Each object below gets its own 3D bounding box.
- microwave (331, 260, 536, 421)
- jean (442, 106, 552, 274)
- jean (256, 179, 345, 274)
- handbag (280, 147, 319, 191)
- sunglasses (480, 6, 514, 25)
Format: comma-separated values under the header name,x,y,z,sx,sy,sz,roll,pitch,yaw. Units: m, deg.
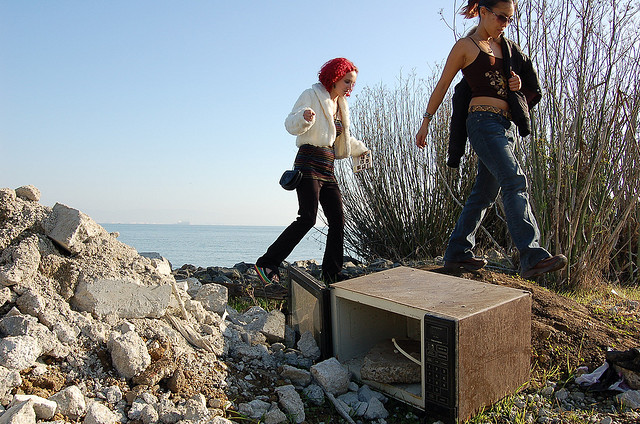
name,x,y,z,sx,sy,sz,roll,pitch,yaw
microwave,0.714,0.785,2.701,0.865,0.647,0.992,-6,7,-44
jean,1.440,-0.199,3.401,0.795,1.332,0.303,2,6,30
jean,-0.161,0.134,3.837,0.754,0.868,0.232,-2,5,-6
handbag,-0.252,-0.348,3.752,0.214,0.244,0.144,-3,-19,18
sunglasses,1.421,-1.531,3.271,0.131,0.043,0.138,-3,37,-47
